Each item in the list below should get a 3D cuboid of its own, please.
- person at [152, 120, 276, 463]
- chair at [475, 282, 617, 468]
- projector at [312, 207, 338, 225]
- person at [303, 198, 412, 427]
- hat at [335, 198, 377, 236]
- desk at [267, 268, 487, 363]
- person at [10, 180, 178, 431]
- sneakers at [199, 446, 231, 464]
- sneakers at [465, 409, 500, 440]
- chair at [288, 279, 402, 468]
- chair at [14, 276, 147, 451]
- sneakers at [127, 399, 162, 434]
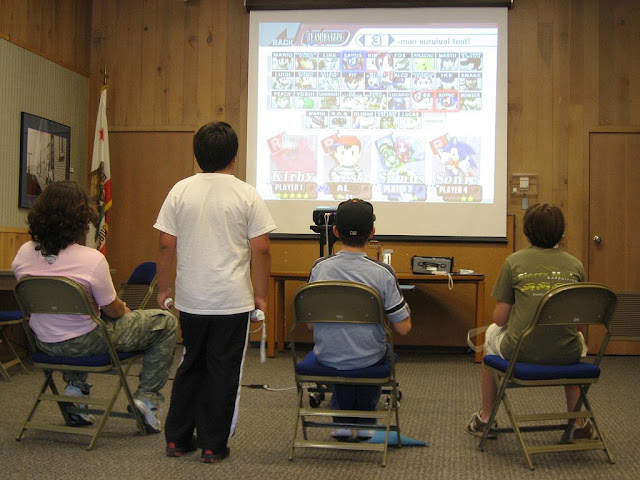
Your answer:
[{"bbox_3d":[-0.614,0.334,3.430,0.715,2.005,0.532,-3,11,-11],"label":"person"},{"bbox_3d":[1.395,0.764,3.550,0.540,1.070,0.754,1,2,1],"label":"chair"},{"bbox_3d":[0.040,-0.225,5.574,0.199,0.161,0.152,-1,-3,3],"label":"projector"},{"bbox_3d":[0.250,0.503,3.644,0.663,1.546,0.666,5,14,25],"label":"person"},{"bbox_3d":[0.226,-0.164,3.551,0.233,0.204,0.362,3,24,18],"label":"hat"},{"bbox_3d":[0.583,0.711,6.155,2.143,1.176,0.699,-1,21,2],"label":"desk"},{"bbox_3d":[-1.544,0.488,3.876,0.800,1.741,0.933,-1,-2,23],"label":"person"},{"bbox_3d":[-0.608,1.255,3.386,0.062,0.087,0.179,1,2,17],"label":"sneakers"},{"bbox_3d":[1.039,1.227,3.817,0.094,0.120,0.238,1,-1,3],"label":"sneakers"},{"bbox_3d":[0.159,0.766,3.611,0.673,1.196,0.748,0,11,8],"label":"chair"},{"bbox_3d":[-1.541,0.731,3.716,0.608,1.035,0.734,0,2,27],"label":"chair"},{"bbox_3d":[-1.131,1.130,3.747,0.096,0.288,0.137,-9,28,26],"label":"sneakers"}]
